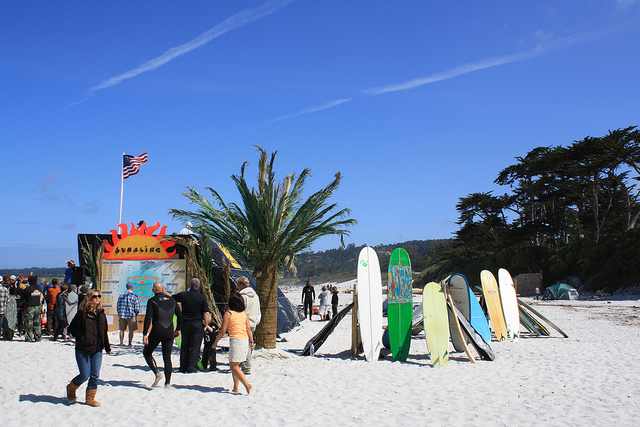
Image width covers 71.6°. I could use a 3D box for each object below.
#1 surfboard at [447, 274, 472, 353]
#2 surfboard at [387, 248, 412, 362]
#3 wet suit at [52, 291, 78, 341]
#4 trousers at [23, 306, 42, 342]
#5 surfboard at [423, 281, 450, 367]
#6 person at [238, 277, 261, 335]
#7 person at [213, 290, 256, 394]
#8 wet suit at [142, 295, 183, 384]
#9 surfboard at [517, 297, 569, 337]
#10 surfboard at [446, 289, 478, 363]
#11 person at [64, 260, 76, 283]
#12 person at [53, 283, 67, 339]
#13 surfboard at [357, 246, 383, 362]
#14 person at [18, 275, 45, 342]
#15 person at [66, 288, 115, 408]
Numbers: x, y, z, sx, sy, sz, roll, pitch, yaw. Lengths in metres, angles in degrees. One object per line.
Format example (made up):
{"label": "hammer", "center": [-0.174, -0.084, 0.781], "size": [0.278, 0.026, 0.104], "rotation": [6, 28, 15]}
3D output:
{"label": "surfboard", "center": [3.953, 2.865, 12.674], "size": [0.709, 2.413, 0.360], "rotation": [5, -14, -22]}
{"label": "surfboard", "center": [2.167, 2.406, 12.044], "size": [0.726, 2.986, 0.629], "rotation": [1, -8, -12]}
{"label": "wet suit", "center": [-7.867, 3.145, 13.620], "size": [0.447, 1.508, 1.002], "rotation": [7, -12, -44]}
{"label": "trousers", "center": [-8.743, 3.358, 13.523], "size": [0.458, 1.071, 0.319], "rotation": [5, -10, -34]}
{"label": "surfboard", "center": [2.948, 2.857, 11.579], "size": [0.576, 2.125, 0.293], "rotation": [3, -30, -7]}
{"label": "person", "center": [-1.668, 2.280, 10.639], "size": [0.552, 1.684, 0.752], "rotation": [7, 28, 5]}
{"label": "person", "center": [-1.734, 2.552, 8.784], "size": [0.872, 1.956, 0.741], "rotation": [0, -9, -12]}
{"label": "wet suit", "center": [-3.264, 2.594, 9.170], "size": [0.644, 1.809, 0.788], "rotation": [1, -8, -11]}
{"label": "surfboard", "center": [7.620, 3.518, 15.202], "size": [1.409, 1.167, 2.833], "rotation": [-5, -10, 27]}
{"label": "surfboard", "center": [3.705, 2.933, 11.728], "size": [0.565, 1.842, 0.822], "rotation": [3, -9, -22]}
{"label": "person", "center": [-8.664, 2.021, 15.369], "size": [0.245, 0.729, 1.469], "rotation": [4, -10, -29]}
{"label": "person", "center": [-7.971, 3.017, 13.660], "size": [0.372, 1.622, 0.947], "rotation": [4, -10, -30]}
{"label": "surfboard", "center": [1.319, 2.414, 11.926], "size": [0.649, 3.137, 0.293], "rotation": [2, -10, -12]}
{"label": "person", "center": [-8.885, 2.912, 13.736], "size": [0.676, 2.025, 0.733], "rotation": [5, -10, -33]}
{"label": "person", "center": [-4.386, 2.541, 8.417], "size": [0.641, 2.156, 0.433], "rotation": [1, -8, -12]}
